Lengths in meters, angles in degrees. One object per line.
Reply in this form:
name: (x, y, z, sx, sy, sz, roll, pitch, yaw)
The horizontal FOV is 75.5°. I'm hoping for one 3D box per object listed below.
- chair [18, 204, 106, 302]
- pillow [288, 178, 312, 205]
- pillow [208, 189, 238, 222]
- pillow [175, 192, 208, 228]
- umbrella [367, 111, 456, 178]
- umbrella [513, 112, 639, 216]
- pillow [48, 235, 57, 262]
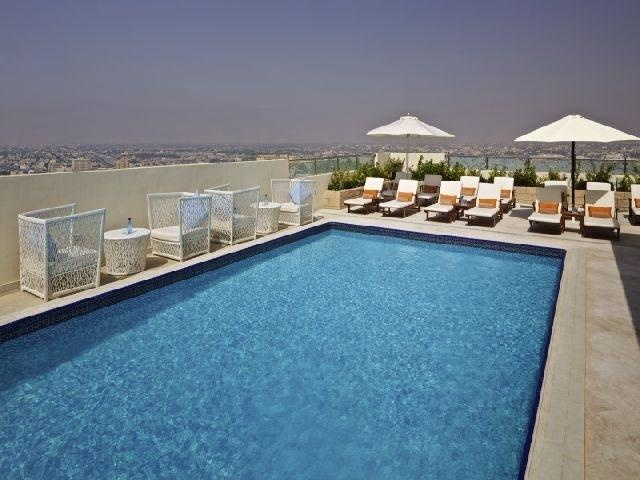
chair: (-3.736, 0.218, 5.951, 1.206, 1.258, 0.710, -4, 10, -18)
pillow: (-0.482, -1.229, 10.537, 0.607, 0.602, 0.796, -2, 9, -4)
pillow: (-1.964, -0.697, 8.359, 0.650, 0.568, 0.627, -3, 11, -27)
pillow: (-2.400, -0.522, 7.675, 0.187, 0.577, 0.649, 6, 6, 32)
umbrella: (2.720, -2.974, 13.494, 2.389, 1.564, 2.403, 5, 18, 18)
umbrella: (6.125, -1.885, 10.448, 2.814, 1.931, 3.011, 2, 13, 26)
pillow: (-3.721, 0.121, 5.723, 0.050, 0.384, 0.134, 2, 10, 22)
